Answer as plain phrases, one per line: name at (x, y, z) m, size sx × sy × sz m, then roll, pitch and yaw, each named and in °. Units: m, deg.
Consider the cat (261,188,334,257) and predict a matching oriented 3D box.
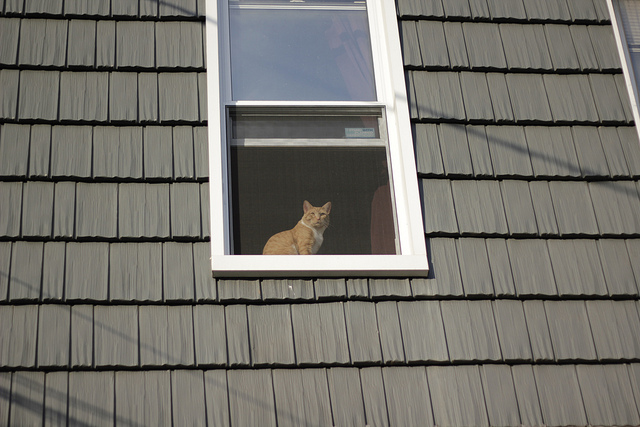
cat at (-0.144, 0.185, 7.395) m, size 0.555 × 0.455 × 0.267 m, roll -20°, pitch -20°, yaw 23°
